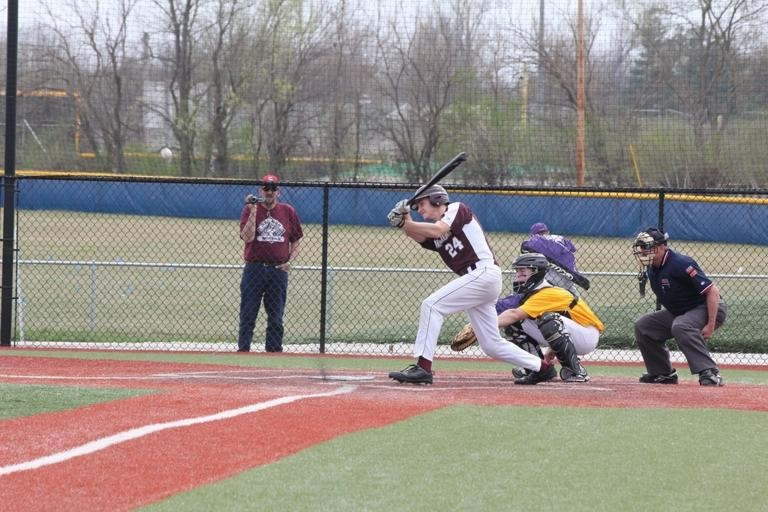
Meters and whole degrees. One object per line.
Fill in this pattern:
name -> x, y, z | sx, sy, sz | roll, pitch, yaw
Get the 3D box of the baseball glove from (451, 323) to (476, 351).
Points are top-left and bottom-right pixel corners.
baseball glove -> 1.450, 1.550, 24.288 | 0.523, 0.235, 0.403 | -36, 6, -31

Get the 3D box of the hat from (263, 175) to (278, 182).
hat -> -2.329, -1.534, 25.922 | 0.275, 0.153, 0.385 | 2, 2, -3

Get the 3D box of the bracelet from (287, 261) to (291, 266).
bracelet -> -1.961, 0.145, 25.971 | 0.060, 0.085, 0.021 | 2, -37, 0

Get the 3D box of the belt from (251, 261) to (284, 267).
belt -> -2.420, 0.156, 25.880 | 0.578, 0.126, 0.087 | -5, 5, -8

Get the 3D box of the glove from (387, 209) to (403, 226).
glove -> 0.125, -0.703, 23.677 | 0.206, 0.338, 0.365 | -7, 6, -30
